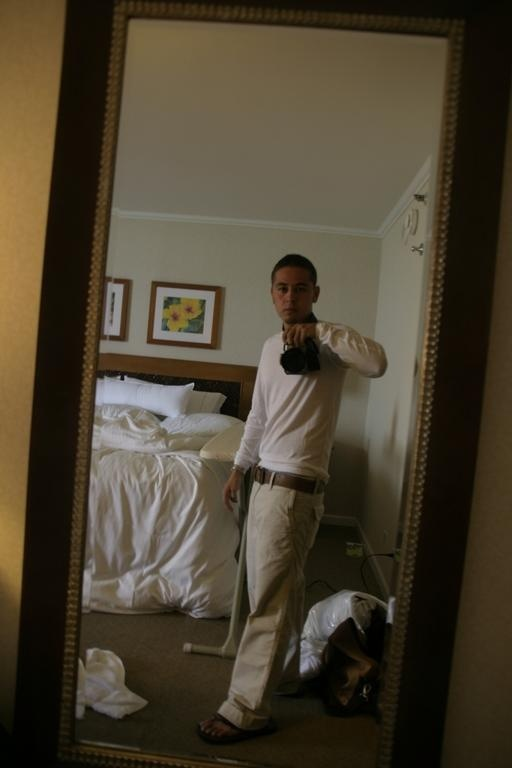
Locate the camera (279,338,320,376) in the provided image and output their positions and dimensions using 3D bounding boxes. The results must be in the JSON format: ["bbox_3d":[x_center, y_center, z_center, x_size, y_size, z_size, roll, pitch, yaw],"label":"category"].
[{"bbox_3d":[0.102,-0.059,1.425,0.094,0.100,0.058,1,-4,-35],"label":"camera"}]

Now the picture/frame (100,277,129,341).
[{"bbox_3d":[-0.335,-0.173,1.446,0.011,0.143,0.072,10,9,28],"label":"picture/frame"}]

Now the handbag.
[{"bbox_3d":[0.185,0.606,1.501,0.198,0.283,0.268,9,-36,0],"label":"handbag"}]

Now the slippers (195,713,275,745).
[{"bbox_3d":[-0.042,0.765,1.415,0.168,0.069,0.072,3,13,-1],"label":"slippers"}]

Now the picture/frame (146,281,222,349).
[{"bbox_3d":[-0.167,-0.167,1.435,0.125,0.133,0.010,6,0,-3],"label":"picture/frame"}]
